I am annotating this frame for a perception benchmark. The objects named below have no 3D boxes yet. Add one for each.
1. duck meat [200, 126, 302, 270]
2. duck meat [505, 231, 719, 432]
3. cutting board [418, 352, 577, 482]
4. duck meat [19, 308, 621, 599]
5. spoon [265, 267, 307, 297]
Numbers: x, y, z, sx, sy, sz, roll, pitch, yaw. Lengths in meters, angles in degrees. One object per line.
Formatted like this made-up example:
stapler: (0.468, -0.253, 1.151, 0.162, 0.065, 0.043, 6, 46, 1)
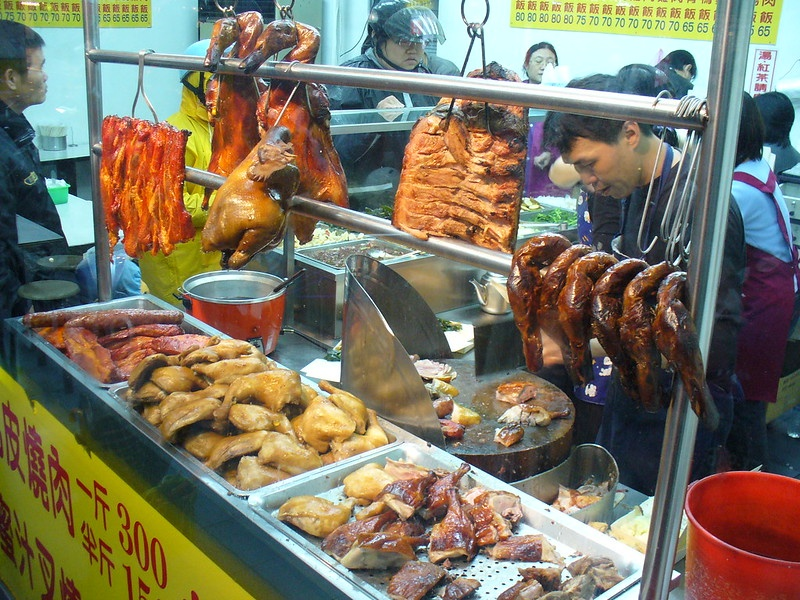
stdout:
duck meat: (-0.433, -0.251, 1.984, 0.164, 0.465, 0.248, 14, 29, -50)
duck meat: (0.463, 0.048, 1.395, 0.469, 0.344, 0.170, 11, 17, 37)
cutting board: (0.349, 0.493, 2.602, 0.684, 0.168, 0.704, 5, 21, 16)
duck meat: (-0.151, 0.402, 1.776, 0.508, 0.186, 1.483, -16, 26, -40)
spoon: (-0.554, -0.084, 3.178, 0.036, 0.225, 0.033, 54, 6, 33)
